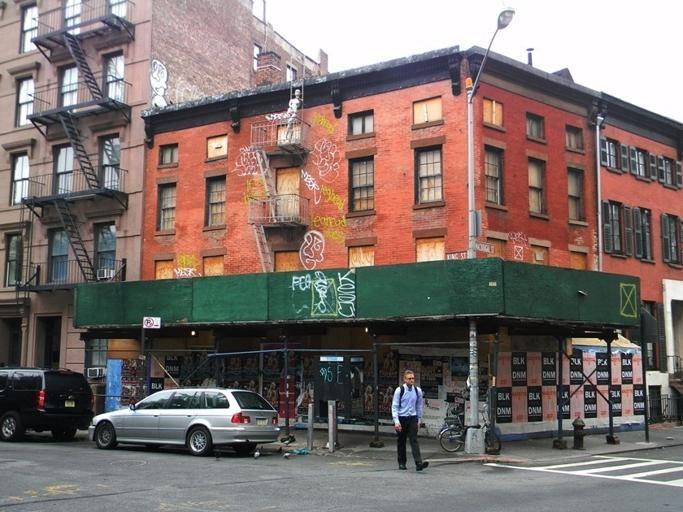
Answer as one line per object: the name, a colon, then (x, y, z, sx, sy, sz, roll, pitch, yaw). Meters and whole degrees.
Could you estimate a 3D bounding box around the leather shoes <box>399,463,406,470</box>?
leather shoes: (1.717, 5.926, 23.994, 0.123, 0.097, 0.241, 2, -15, -13)

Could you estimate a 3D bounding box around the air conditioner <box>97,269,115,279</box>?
air conditioner: (-10.541, 0.844, 38.100, 0.619, 0.443, 0.444, -4, -13, 18)

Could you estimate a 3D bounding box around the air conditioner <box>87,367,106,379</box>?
air conditioner: (-10.073, 4.826, 35.039, 0.780, 0.518, 0.528, 1, -12, -7)

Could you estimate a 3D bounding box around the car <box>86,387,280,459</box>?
car: (-4.858, 5.238, 27.151, 5.285, 1.647, 2.336, -2, -10, 23)
